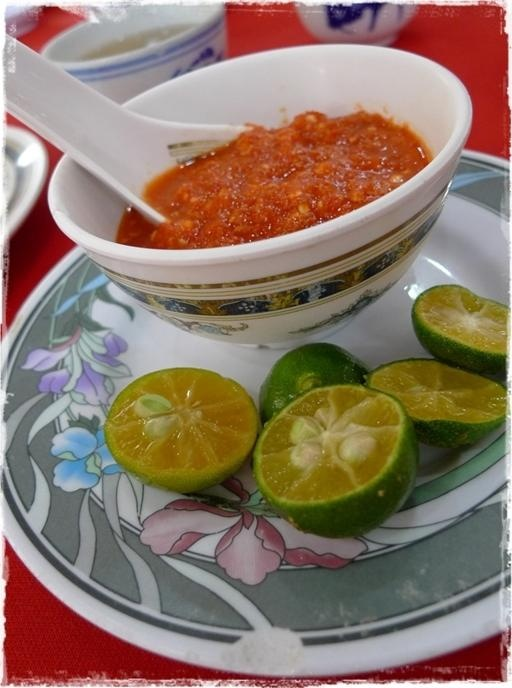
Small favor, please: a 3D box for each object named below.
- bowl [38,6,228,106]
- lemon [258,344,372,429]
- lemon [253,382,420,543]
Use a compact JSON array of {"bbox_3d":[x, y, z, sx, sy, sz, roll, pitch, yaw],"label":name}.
[{"bbox_3d":[-0.216,-0.572,1.350,0.309,0.162,0.306,-16,38,13],"label":"bowl"},{"bbox_3d":[0.069,0.056,0.826,0.120,0.068,0.106,-19,55,6],"label":"lemon"},{"bbox_3d":[0.084,0.117,0.726,0.177,0.061,0.178,-22,48,-10],"label":"lemon"}]
